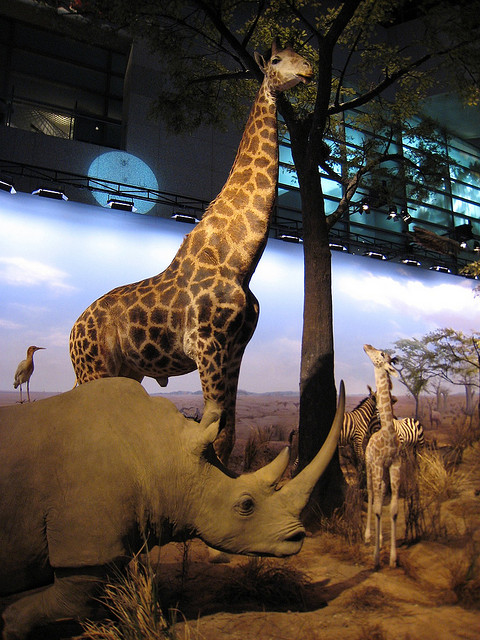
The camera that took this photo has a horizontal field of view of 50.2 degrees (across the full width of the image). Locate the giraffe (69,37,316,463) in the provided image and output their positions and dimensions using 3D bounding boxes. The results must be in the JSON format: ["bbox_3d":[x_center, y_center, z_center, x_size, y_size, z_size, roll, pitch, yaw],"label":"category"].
[{"bbox_3d":[-0.282,-0.631,3.731,1.367,2.970,0.942,6,3,32],"label":"giraffe"}]

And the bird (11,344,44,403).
[{"bbox_3d":[-4.186,1.086,10.031,0.534,1.164,1.185,3,3,-19],"label":"bird"}]

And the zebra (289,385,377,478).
[{"bbox_3d":[1.588,1.681,7.604,0.393,1.051,1.783,6,-19,-44],"label":"zebra"}]
